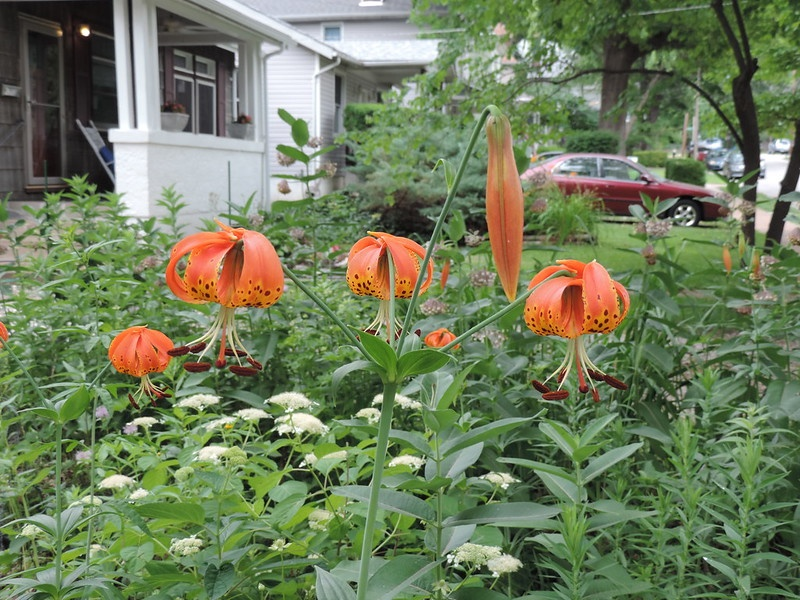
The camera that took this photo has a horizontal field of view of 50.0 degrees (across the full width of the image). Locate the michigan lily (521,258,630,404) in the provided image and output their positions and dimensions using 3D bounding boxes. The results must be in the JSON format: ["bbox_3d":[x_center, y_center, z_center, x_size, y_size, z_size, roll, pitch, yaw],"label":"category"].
[{"bbox_3d":[0.627,0.040,3.202,0.313,0.628,0.306,0,6,-16],"label":"michigan lily"}]

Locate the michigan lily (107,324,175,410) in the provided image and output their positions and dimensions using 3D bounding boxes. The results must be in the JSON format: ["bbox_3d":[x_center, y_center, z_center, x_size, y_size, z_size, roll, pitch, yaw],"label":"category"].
[{"bbox_3d":[-1.090,0.262,3.641,0.239,0.332,0.245,-12,23,-42],"label":"michigan lily"}]

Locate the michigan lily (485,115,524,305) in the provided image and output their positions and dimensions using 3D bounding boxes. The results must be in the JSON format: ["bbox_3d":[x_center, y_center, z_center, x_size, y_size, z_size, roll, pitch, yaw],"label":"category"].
[{"bbox_3d":[0.371,-0.354,3.105,0.158,0.696,0.160,-4,1,26],"label":"michigan lily"}]

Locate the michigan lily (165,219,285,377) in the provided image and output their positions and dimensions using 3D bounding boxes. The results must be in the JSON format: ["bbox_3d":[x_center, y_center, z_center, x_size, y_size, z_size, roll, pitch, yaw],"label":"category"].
[{"bbox_3d":[-0.632,0.009,3.181,0.382,0.532,0.431,9,6,-9],"label":"michigan lily"}]
